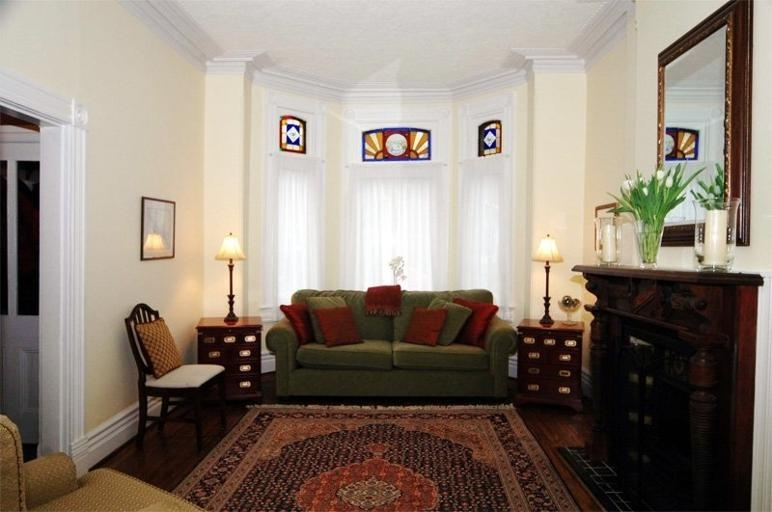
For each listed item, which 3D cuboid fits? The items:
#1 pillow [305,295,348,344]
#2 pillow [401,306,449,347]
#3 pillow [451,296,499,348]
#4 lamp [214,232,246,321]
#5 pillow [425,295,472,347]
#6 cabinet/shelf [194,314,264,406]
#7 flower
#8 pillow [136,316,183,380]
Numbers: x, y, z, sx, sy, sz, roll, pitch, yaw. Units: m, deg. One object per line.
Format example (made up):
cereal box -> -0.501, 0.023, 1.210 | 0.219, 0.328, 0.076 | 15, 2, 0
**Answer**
pillow -> -0.747, 0.690, 6.430 | 0.533, 0.510, 0.190 | 8, -34, -25
pillow -> 0.467, 0.802, 6.314 | 0.459, 0.429, 0.138 | -1, -32, 38
pillow -> 1.035, 0.762, 6.298 | 0.477, 0.464, 0.178 | 3, -19, 43
lamp -> -1.817, 0.270, 6.426 | 0.317, 1.032, 0.885 | -3, 12, -16
pillow -> 0.733, 0.764, 6.312 | 0.502, 0.461, 0.154 | 24, -11, 37
cabinet/shelf -> -1.665, 1.184, 6.374 | 0.941, 1.110, 0.800 | 0, 0, -8
flower -> 2.031, -0.302, 4.476 | 0.862, 0.916, 0.740 | 5, -3, -36
pillow -> -2.217, 0.904, 5.304 | 0.332, 0.575, 0.629 | 6, 1, 1
